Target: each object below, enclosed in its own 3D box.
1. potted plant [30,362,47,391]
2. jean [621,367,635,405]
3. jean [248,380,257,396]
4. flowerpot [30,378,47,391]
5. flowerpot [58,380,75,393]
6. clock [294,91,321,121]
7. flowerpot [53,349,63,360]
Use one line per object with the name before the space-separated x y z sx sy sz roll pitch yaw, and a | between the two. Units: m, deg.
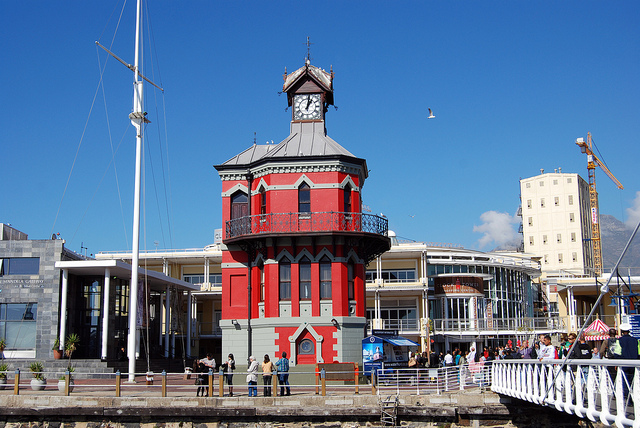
potted plant | -16.852 9.647 55.581 0.896 1.873 3.909 3 -14 -16
jean | 14.207 7.872 42.665 0.593 1.659 2.396 -5 -14 18
jean | -3.850 9.969 53.281 0.652 0.654 0.979 3 -4 -3
flowerpot | -16.508 9.947 54.257 0.708 0.524 0.698 -2 -8 21
flowerpot | -14.585 9.884 53.335 0.774 0.557 0.738 1 -11 -6
clock | -0.770 -7.555 64.716 1.905 2.061 0.234 -1 -17 2
flowerpot | -18.048 9.648 63.886 0.529 0.458 0.572 1 -11 -5
